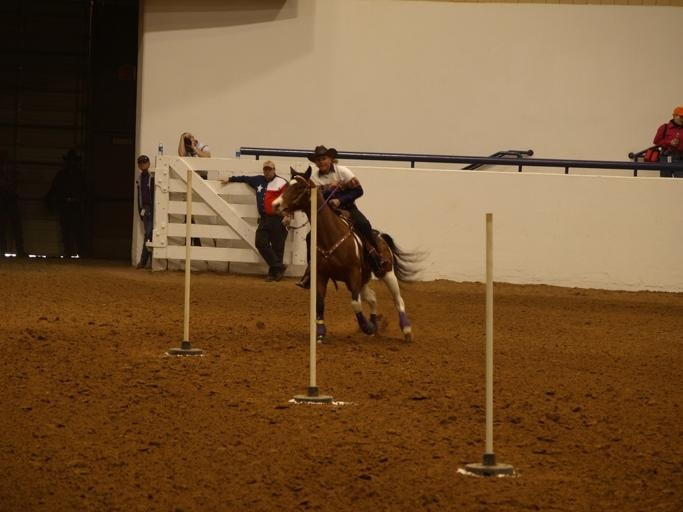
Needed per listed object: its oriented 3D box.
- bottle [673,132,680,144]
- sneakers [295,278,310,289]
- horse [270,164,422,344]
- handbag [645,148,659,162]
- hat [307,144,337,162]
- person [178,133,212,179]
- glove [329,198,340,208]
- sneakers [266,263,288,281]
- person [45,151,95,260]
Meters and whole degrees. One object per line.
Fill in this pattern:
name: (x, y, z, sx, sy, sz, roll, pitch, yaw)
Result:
bottle: (7.509, -2.624, 21.670, 0.095, 0.233, 0.239, 12, 15, 43)
sneakers: (-0.704, 0.470, 17.050, 0.121, 0.152, 0.395, 3, -10, 18)
horse: (0.172, -0.031, 15.422, 1.451, 2.856, 2.743, 9, 13, 32)
handbag: (7.061, -2.291, 21.936, 0.313, 0.290, 0.143, 7, -25, 8)
hat: (-0.325, -1.656, 15.438, 0.423, 0.247, 0.976, 1, 11, -3)
person: (-3.368, -2.542, 21.982, 0.704, 0.517, 0.900, 0, 11, -11)
glove: (-0.100, -0.831, 15.217, 0.141, 0.138, 0.134, 11, 11, -47)
sneakers: (-1.400, 0.369, 20.759, 0.217, 0.245, 0.591, -5, 33, 32)
person: (-6.862, -1.323, 24.217, 0.968, 2.713, 0.228, 1, 11, -3)
